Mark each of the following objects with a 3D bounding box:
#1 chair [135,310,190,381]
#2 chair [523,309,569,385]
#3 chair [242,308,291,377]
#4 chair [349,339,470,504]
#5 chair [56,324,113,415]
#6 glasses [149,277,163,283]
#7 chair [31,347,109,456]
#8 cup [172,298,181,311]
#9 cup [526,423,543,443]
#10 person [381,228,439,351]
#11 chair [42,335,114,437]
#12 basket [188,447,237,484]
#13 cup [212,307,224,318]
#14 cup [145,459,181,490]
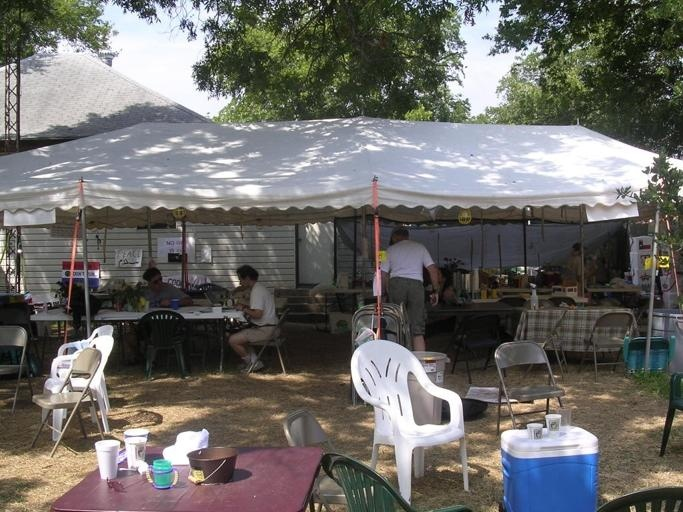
[{"bbox_3d":[-2.605,1.222,10.897,0.712,0.985,0.794,0,9,2],"label":"chair"},{"bbox_3d":[2.996,1.209,10.691,0.926,1.249,0.752,0,-2,16],"label":"chair"},{"bbox_3d":[-1.135,1.165,11.151,0.752,1.055,0.579,-3,22,-6],"label":"chair"},{"bbox_3d":[0.656,1.585,7.240,0.987,1.323,1.064,-2,3,-22],"label":"chair"},{"bbox_3d":[-2.900,1.292,8.608,0.679,0.877,0.601,22,-9,-23],"label":"chair"},{"bbox_3d":[-2.946,0.384,11.767,0.116,0.036,0.110,-6,5,25],"label":"glasses"},{"bbox_3d":[-3.034,1.583,8.147,0.873,1.057,0.823,-3,3,-3],"label":"chair"},{"bbox_3d":[-2.521,0.742,11.402,0.159,0.161,0.155,0,-4,0],"label":"cup"},{"bbox_3d":[1.718,1.566,6.563,0.139,0.101,0.132,0,-3,0],"label":"cup"},{"bbox_3d":[0.962,0.570,10.712,0.841,2.042,0.567,-3,-6,15],"label":"person"},{"bbox_3d":[-2.869,1.330,8.503,0.581,0.709,0.542,9,0,28],"label":"chair"},{"bbox_3d":[-0.973,1.637,5.655,0.355,0.165,0.342,0,-11,-43],"label":"basket"},{"bbox_3d":[-1.796,0.828,10.841,0.167,0.112,0.162,2,-3,0],"label":"cup"},{"bbox_3d":[-1.344,1.654,5.600,0.247,0.195,0.180,3,-4,-2],"label":"cup"}]
